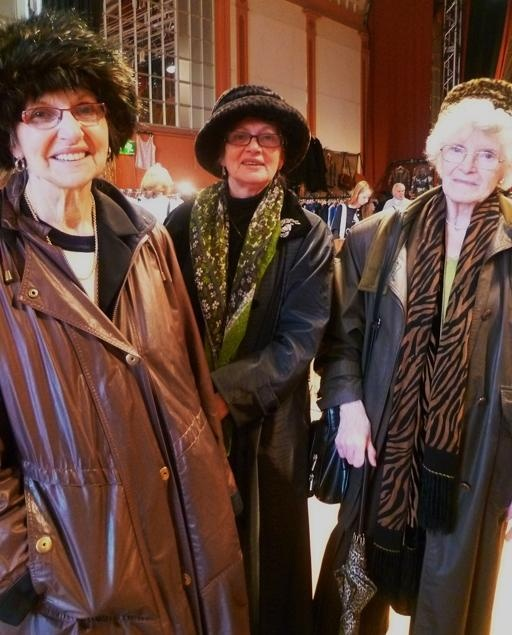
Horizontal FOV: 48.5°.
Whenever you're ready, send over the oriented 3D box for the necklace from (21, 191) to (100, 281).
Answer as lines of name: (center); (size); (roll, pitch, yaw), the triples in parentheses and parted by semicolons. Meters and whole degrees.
necklace: (-0.365, -0.135, 1.145); (0.099, 0.214, 0.050); (-1, -6, -1)
